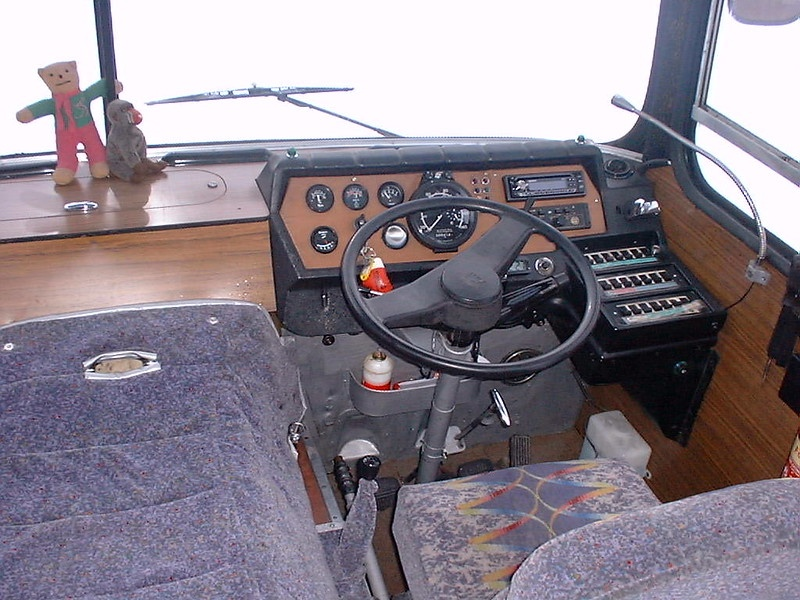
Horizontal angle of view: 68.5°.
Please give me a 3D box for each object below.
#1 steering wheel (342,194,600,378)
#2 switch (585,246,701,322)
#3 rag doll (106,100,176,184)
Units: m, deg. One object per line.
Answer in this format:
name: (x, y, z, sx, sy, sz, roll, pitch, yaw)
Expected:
steering wheel: (0.172, -0.026, 1.762, 0.675, 0.149, 0.652, 4, 38, -3)
switch: (0.900, -0.065, 2.230, 0.361, 0.080, 0.301, -9, 49, -11)
rag doll: (-0.986, -0.625, 2.251, 0.264, 0.322, 0.280, -4, 46, -23)
